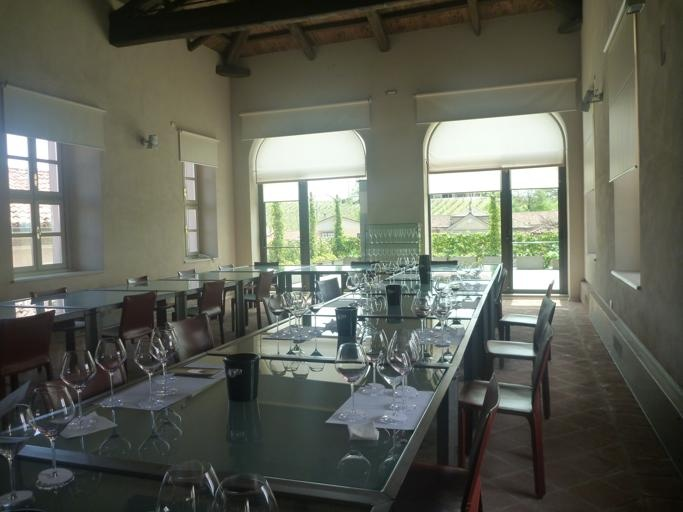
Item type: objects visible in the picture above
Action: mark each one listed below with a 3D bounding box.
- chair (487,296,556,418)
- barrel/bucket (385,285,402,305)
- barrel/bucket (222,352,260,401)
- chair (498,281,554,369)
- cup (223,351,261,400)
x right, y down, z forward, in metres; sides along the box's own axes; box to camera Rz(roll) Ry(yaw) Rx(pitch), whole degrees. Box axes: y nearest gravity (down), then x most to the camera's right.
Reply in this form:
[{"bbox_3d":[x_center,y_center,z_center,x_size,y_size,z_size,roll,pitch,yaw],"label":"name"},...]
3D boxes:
[{"bbox_3d":[1.375,0.772,4.290,0.432,0.730,0.421,4,20,24],"label":"chair"},{"bbox_3d":[0.396,0.294,4.166,0.129,0.152,0.129,1,1,0],"label":"barrel/bucket"},{"bbox_3d":[-0.440,0.536,2.402,0.148,0.182,0.174,1,3,28],"label":"barrel/bucket"},{"bbox_3d":[1.798,0.624,5.349,0.454,0.734,0.386,-1,3,24],"label":"chair"},{"bbox_3d":[-0.449,0.542,2.403,0.147,0.172,0.156,-2,-2,0],"label":"cup"}]
